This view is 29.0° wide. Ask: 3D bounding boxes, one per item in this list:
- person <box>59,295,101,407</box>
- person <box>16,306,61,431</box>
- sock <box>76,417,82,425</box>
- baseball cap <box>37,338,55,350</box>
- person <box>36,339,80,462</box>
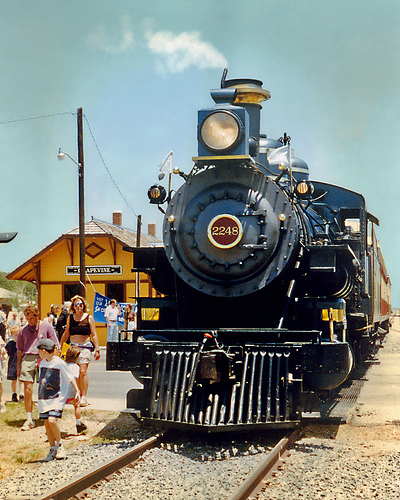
[{"bbox_3d":[-1.477,1.218,9.537,0.504,1.335,0.385,0,3,18],"label":"person"},{"bbox_3d":[-1.902,1.343,9.086,0.650,1.418,0.625,1,4,17],"label":"person"},{"bbox_3d":[-1.338,1.873,8.512,0.057,0.093,0.058,1,-1,30],"label":"sock"},{"bbox_3d":[-1.505,0.912,7.549,0.169,0.097,0.127,3,-6,-11],"label":"baseball cap"},{"bbox_3d":[-1.435,1.427,7.463,0.501,1.176,0.366,-3,-4,44],"label":"person"}]
